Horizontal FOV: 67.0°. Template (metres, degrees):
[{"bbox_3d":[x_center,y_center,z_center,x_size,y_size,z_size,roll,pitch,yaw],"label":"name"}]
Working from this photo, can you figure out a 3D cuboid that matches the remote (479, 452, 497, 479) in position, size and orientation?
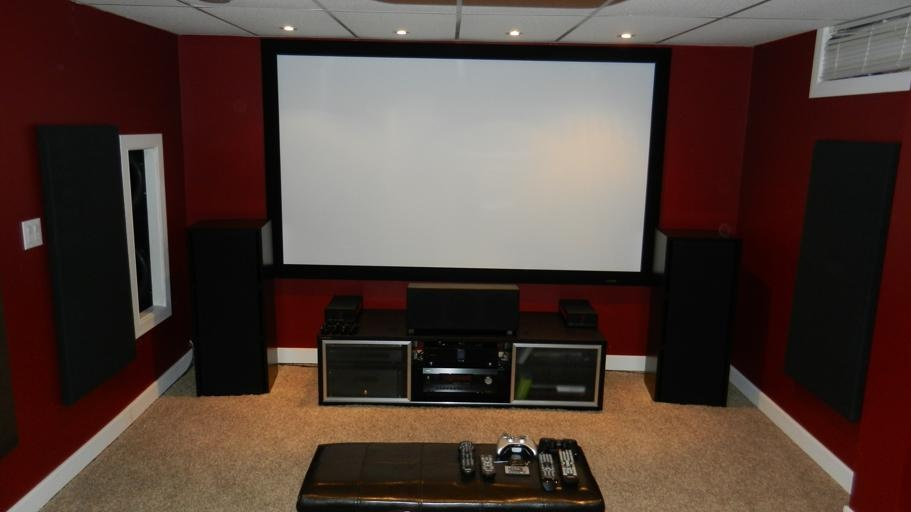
[{"bbox_3d":[0.241,1.512,4.977,0.082,0.162,0.051,0,-72,-1],"label":"remote"}]

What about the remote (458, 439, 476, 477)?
[{"bbox_3d":[0.090,1.458,5.023,0.116,0.296,0.052,1,-63,-3],"label":"remote"}]
